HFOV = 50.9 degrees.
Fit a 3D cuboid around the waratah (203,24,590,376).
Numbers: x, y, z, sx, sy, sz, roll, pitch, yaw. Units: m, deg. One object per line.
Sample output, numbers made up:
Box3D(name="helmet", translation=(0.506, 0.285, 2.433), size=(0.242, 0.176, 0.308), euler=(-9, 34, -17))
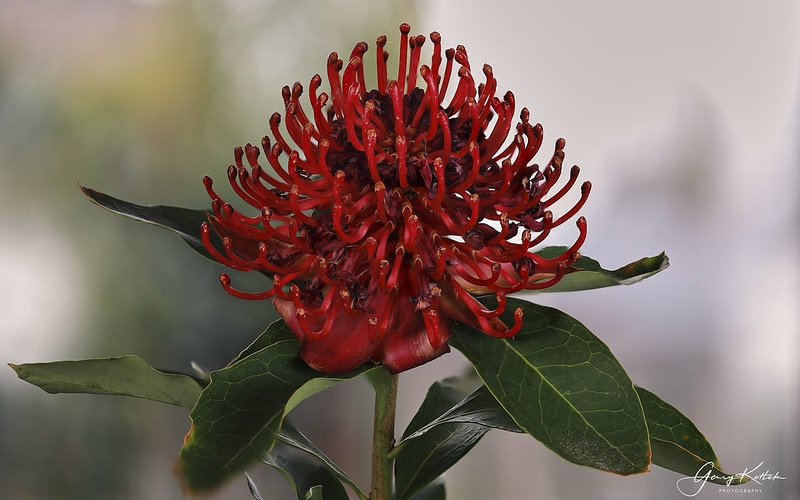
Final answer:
Box3D(name="waratah", translation=(-0.023, -0.113, 2.350), size=(0.990, 0.867, 1.095), euler=(9, -10, -31))
